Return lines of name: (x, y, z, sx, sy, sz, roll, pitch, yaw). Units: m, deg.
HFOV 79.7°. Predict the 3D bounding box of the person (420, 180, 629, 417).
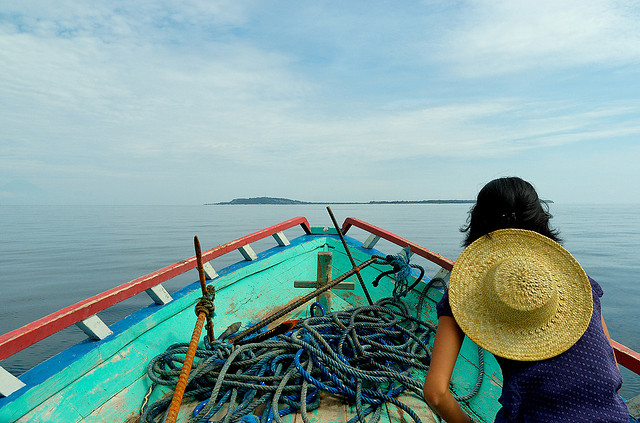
person: (1.178, 0.537, 2.290, 1.115, 1.445, 0.600, -4, 8, 13)
